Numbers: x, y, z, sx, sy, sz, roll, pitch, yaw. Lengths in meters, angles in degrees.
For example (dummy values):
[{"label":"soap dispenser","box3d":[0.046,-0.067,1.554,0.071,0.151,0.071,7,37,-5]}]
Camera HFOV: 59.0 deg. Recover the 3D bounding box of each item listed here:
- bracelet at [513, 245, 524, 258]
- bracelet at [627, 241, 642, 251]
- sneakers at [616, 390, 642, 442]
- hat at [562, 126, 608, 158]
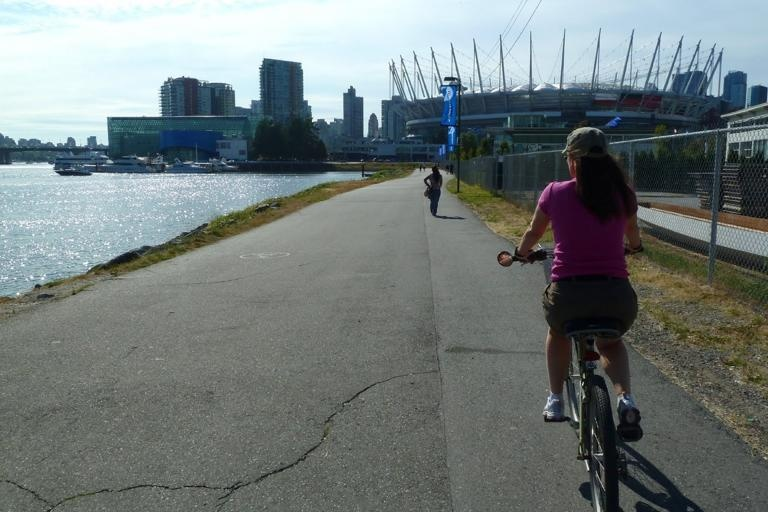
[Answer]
[{"label":"bracelet","box3d":[1.199,-0.040,6.066,0.061,0.088,0.101,4,47,-26]},{"label":"bracelet","box3d":[2.092,-0.081,5.710,0.089,0.045,0.103,0,4,10]},{"label":"sneakers","box3d":[1.786,1.207,5.000,0.141,0.219,0.439,0,8,12]},{"label":"hat","box3d":[1.590,-0.915,5.369,0.229,0.170,0.315,-1,20,6]}]
